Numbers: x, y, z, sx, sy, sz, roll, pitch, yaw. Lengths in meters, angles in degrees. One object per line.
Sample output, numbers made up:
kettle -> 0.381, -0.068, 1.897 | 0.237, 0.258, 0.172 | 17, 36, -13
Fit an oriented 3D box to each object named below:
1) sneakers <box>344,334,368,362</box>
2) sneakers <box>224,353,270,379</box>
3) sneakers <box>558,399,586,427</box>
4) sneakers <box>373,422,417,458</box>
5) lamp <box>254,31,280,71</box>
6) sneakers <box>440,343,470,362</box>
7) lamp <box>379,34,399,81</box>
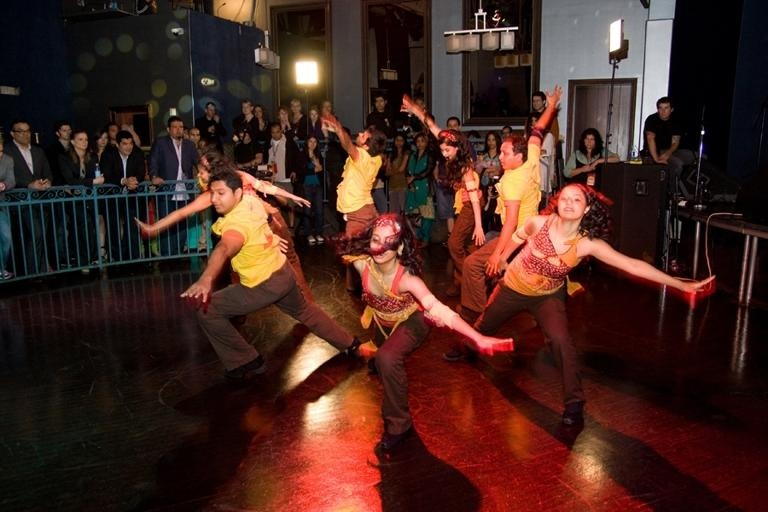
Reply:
sneakers -> -0.265, 0.889, 4.663 | 0.173, 0.220, 0.266 | -4, 15, -7
sneakers -> -1.225, 0.995, 4.500 | 0.404, 0.190, 0.142 | -4, 5, -45
sneakers -> 1.445, 1.188, 3.790 | 0.180, 0.164, 0.088 | -2, 15, -2
sneakers -> 0.080, 1.328, 3.617 | 0.329, 0.130, 0.118 | -14, 4, -42
lamp -> -2.800, -4.983, 12.022 | 0.456, 0.900, 1.458 | -4, 15, -7
sneakers -> 0.663, 0.914, 4.830 | 0.327, 0.246, 0.113 | 1, 6, 12
lamp -> 0.113, -5.077, 12.797 | 0.462, 1.216, 0.294 | -2, 15, -1
